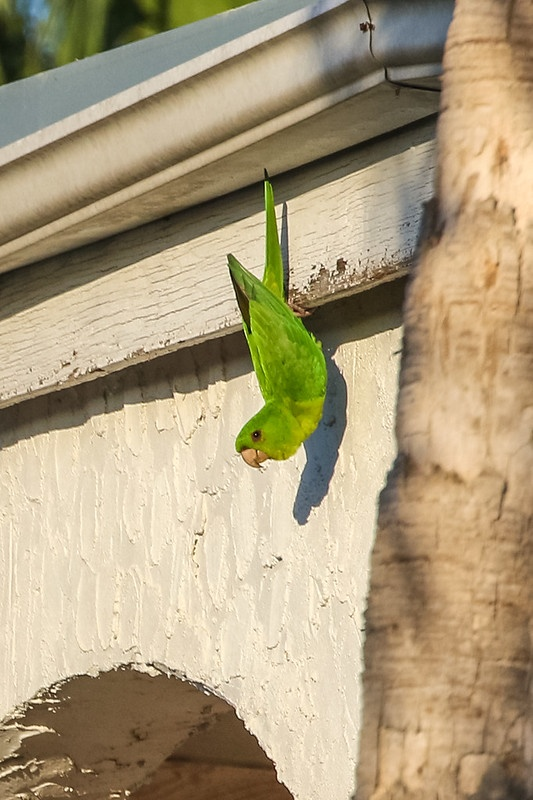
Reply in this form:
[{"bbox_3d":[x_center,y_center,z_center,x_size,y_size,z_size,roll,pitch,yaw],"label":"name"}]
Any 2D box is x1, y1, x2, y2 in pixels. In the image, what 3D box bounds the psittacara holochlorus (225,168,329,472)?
[{"bbox_3d":[0.025,-0.145,4.195,0.082,0.436,0.155,-10,2,44],"label":"psittacara holochlorus"}]
